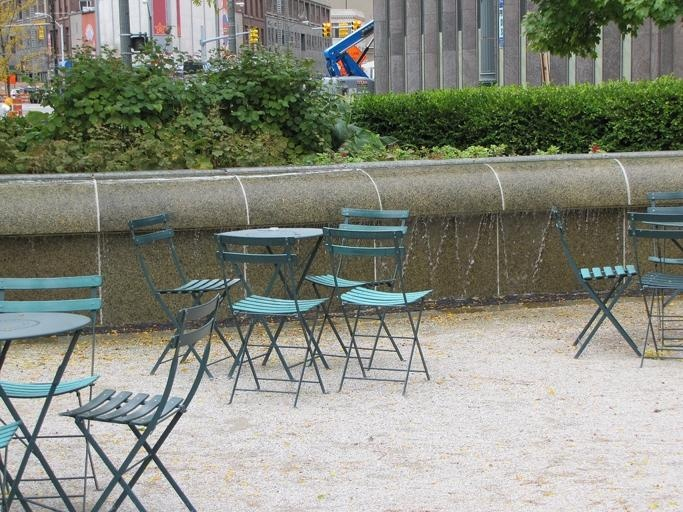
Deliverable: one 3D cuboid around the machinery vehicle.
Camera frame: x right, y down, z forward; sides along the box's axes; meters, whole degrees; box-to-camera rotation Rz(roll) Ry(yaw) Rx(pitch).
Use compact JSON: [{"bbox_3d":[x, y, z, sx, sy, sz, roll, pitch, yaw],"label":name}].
[{"bbox_3d":[0.193,-6.112,51.286,1.701,2.479,1.062,-1,2,-2],"label":"machinery vehicle"}]
